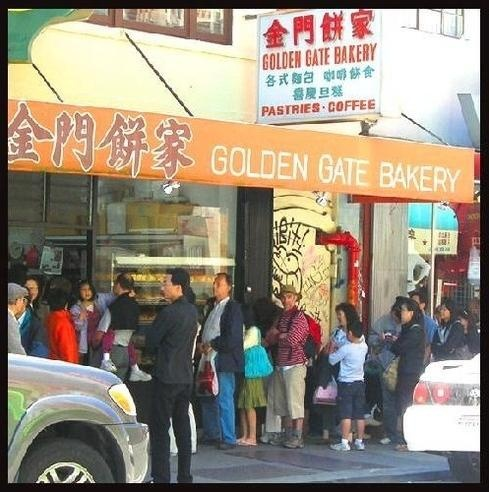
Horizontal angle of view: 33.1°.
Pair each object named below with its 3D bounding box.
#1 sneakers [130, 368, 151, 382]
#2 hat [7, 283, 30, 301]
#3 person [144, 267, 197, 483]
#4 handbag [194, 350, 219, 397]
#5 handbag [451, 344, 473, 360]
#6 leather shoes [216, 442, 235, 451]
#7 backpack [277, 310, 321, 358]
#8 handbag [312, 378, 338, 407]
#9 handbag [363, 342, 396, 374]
[{"bbox_3d":[-1.187,1.497,9.582,0.258,0.223,0.113,0,6,-26],"label":"sneakers"},{"bbox_3d":[-2.081,0.438,7.625,0.170,0.166,0.349,0,-2,-17],"label":"hat"},{"bbox_3d":[-0.669,1.359,7.857,0.504,1.755,0.456,0,-1,-13],"label":"person"},{"bbox_3d":[-0.431,1.460,9.443,0.305,0.519,0.209,-1,-2,32],"label":"handbag"},{"bbox_3d":[2.693,1.330,10.185,0.199,0.331,0.160,5,-12,-35],"label":"handbag"},{"bbox_3d":[-0.197,2.281,9.399,0.221,0.082,0.111,0,-2,-5],"label":"leather shoes"},{"bbox_3d":[0.776,1.146,10.271,0.322,0.450,0.458,7,-20,29],"label":"backpack"},{"bbox_3d":[0.996,1.767,9.949,0.301,0.444,0.166,3,-6,6],"label":"handbag"},{"bbox_3d":[1.676,1.377,10.119,0.294,0.285,0.470,12,21,13],"label":"handbag"}]
